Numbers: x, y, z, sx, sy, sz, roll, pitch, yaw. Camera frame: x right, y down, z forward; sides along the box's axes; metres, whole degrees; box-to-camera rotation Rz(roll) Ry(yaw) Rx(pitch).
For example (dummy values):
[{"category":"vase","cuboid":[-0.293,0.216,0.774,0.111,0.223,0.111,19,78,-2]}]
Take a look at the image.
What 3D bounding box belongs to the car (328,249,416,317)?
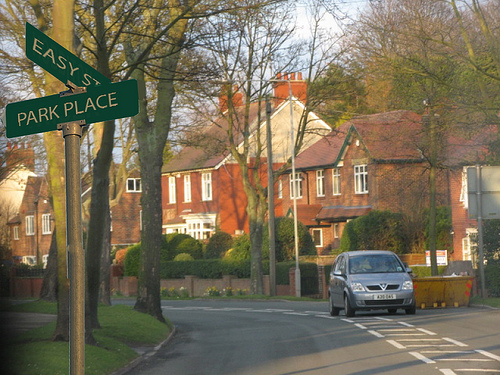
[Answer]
[{"category":"car","cuboid":[3.926,3.138,29.971,2.800,2.263,2.075,-7,-12,18]}]
